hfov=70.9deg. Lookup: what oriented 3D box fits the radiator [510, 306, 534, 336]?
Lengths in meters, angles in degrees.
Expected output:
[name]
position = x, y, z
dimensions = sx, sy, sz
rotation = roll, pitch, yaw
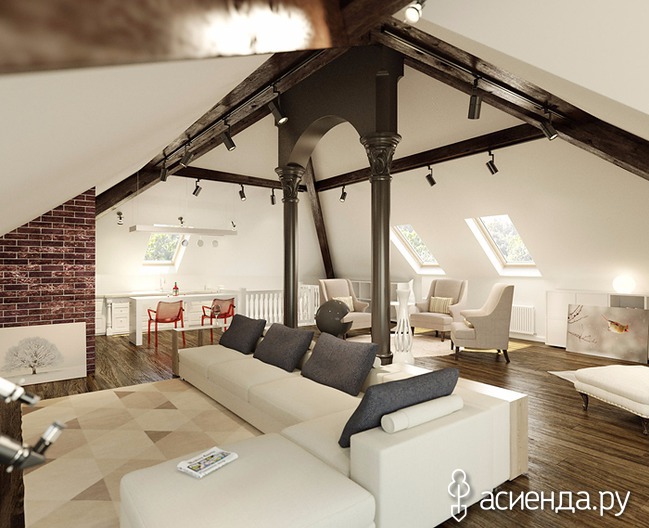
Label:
[radiator]
position = 3.272, 0.938, 7.589
dimensions = 0.087, 0.562, 0.615
rotation = 3, -5, -30
